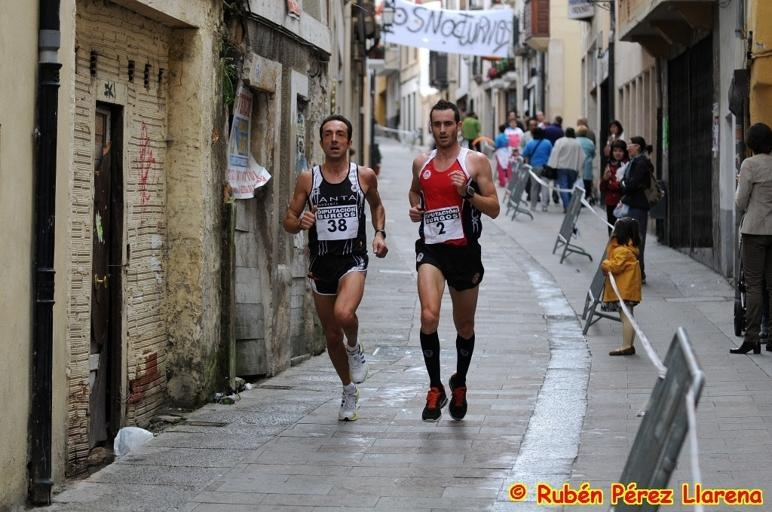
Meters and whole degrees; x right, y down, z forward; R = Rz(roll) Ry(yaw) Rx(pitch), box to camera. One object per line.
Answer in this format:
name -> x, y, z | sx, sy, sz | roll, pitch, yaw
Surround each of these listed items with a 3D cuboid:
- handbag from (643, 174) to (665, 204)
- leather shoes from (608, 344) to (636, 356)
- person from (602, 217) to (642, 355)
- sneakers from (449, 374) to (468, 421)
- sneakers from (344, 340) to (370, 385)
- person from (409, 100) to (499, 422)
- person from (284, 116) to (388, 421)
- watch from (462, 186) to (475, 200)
handbag -> 4.046, -0.993, 15.017 | 0.232, 0.514, 0.979 | -2, 8, 17
leather shoes -> 2.678, 1.074, 11.289 | 0.219, 0.086, 0.133 | 2, 0, 5
person -> 2.728, 0.346, 11.522 | 0.447, 1.548, 1.223 | -2, 6, 13
sneakers -> 0.614, 1.273, 8.684 | 0.130, 0.439, 0.159 | -2, 0, -7
sneakers -> -0.266, 0.971, 8.838 | 0.125, 0.438, 0.186 | -7, 11, 6
person -> 0.609, 0.042, 8.805 | 0.768, 2.861, 1.228 | -3, 6, 2
person -> -0.437, 0.128, 8.675 | 0.869, 2.710, 0.769 | -4, 6, -3
watch -> 0.678, -0.518, 8.279 | 0.073, 0.129, 0.107 | 16, -19, -32
